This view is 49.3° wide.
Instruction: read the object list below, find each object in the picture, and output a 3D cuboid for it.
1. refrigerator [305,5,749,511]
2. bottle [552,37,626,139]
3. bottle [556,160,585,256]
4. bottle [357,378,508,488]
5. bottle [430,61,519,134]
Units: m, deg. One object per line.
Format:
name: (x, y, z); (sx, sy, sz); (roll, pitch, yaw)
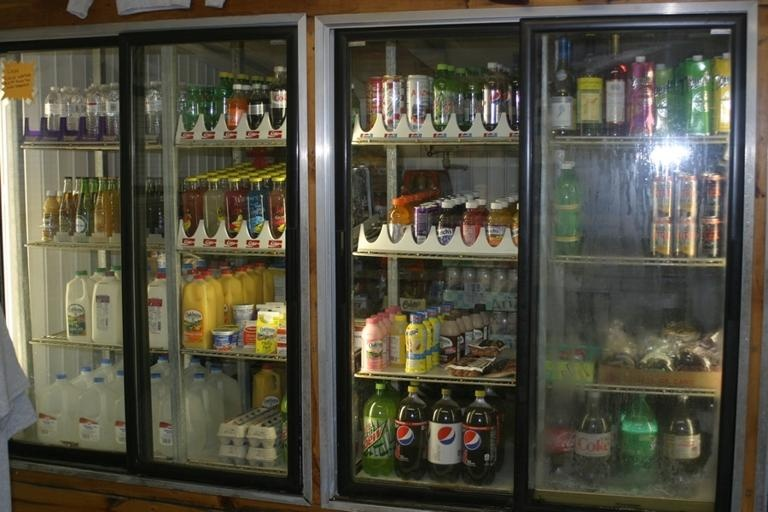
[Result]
refrigerator: (0.695, 0.014, 3.918); (2.337, 2.938, 0.946); (0, 1, 10)
bottle: (0.852, -0.794, 3.922); (0.369, 0.510, 0.425); (1, 13, 9)
bottle: (0.855, -0.223, 3.877); (0.116, 0.423, 0.026); (-2, 4, -12)
bottle: (0.230, 0.896, 4.157); (0.504, 0.352, 0.183); (2, 3, 9)
bottle: (0.450, -0.755, 4.059); (0.357, 0.345, 0.183); (1, 5, 11)
